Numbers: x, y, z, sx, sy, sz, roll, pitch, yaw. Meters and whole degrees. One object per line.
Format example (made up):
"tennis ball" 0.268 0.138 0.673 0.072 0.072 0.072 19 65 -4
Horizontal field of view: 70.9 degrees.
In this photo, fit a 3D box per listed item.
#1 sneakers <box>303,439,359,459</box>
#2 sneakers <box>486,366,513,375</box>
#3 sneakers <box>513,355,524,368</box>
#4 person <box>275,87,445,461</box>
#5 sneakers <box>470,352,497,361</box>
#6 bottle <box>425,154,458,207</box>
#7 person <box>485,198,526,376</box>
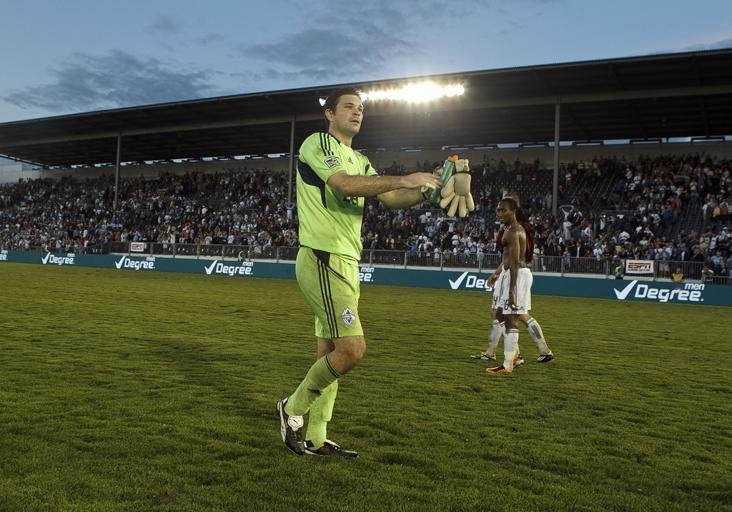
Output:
"sneakers" -0.284 1.629 4.389 0.485 0.176 0.164 2 -12 -2
"sneakers" 1.785 1.546 6.979 0.346 0.122 0.139 -3 24 -16
"sneakers" 2.193 1.523 7.482 0.160 0.083 0.208 1 -1 8
"person" -0.175 0.117 4.368 1.103 3.108 0.870 0 2 -10
"sneakers" 1.770 1.543 7.818 0.380 0.151 0.139 10 -14 3
"bottle" 0.642 -0.630 4.288 0.256 0.413 0.127 13 -9 40
"person" 2.035 0.366 7.346 0.529 2.431 1.012 1 2 19
